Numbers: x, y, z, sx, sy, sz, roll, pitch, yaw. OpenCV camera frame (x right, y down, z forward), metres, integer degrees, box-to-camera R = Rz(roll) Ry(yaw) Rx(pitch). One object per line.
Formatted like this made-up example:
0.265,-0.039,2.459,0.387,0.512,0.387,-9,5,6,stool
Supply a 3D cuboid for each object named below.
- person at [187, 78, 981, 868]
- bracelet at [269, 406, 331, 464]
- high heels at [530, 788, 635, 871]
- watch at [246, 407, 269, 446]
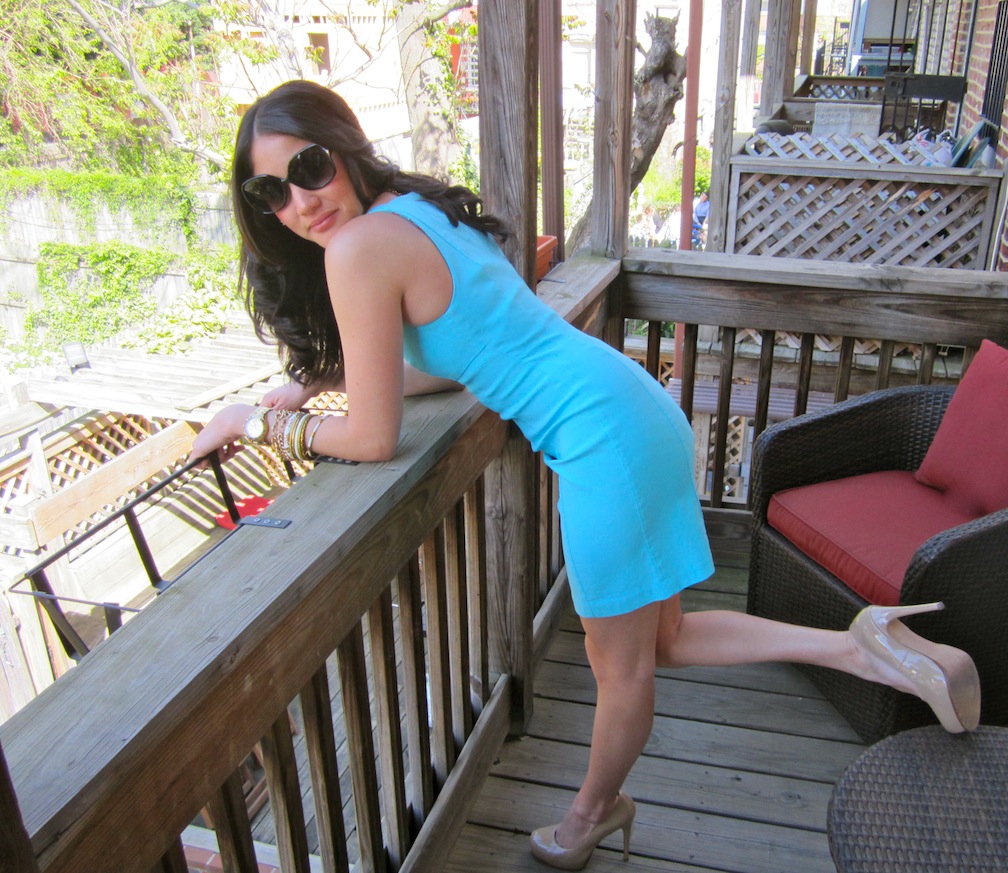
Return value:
0.115,0.176,1.473,1.280,1.652,0.393,-4,21,-4,person
-0.345,-0.016,1.225,0.045,0.084,0.093,5,-7,-27,bracelet
0.171,0.862,1.684,0.244,0.185,0.143,-4,16,11,high heels
-0.426,-0.017,1.265,0.012,0.047,0.047,2,61,-11,watch
